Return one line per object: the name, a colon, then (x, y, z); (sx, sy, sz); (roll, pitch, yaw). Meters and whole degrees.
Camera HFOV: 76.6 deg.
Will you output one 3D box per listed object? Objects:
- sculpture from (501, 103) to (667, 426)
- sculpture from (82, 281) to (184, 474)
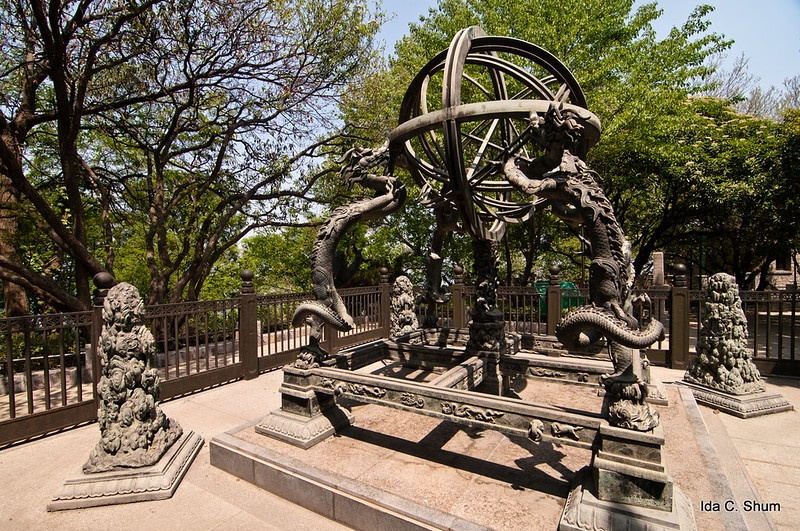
sculpture: (2.961, -0.090, 7.887); (1.728, 3.387, 0.925); (-7, -5, 27)
sculpture: (-4.622, 1.845, 8.576); (1.157, 3.035, 0.403); (-2, -5, -28)
